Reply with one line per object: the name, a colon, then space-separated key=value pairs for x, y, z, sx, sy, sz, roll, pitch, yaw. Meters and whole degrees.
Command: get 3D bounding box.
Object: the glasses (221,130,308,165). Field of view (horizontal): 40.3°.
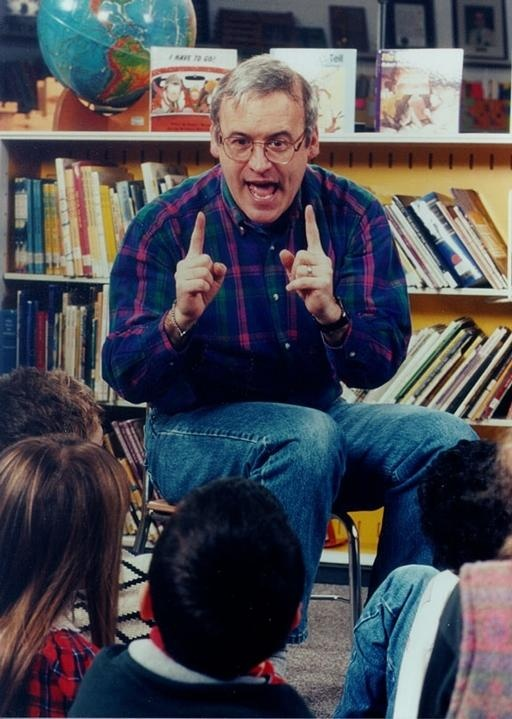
glasses: x=0.011 y=-0.337 z=1.117 sx=0.128 sy=0.043 sz=0.034 roll=-2 pitch=11 yaw=-3
